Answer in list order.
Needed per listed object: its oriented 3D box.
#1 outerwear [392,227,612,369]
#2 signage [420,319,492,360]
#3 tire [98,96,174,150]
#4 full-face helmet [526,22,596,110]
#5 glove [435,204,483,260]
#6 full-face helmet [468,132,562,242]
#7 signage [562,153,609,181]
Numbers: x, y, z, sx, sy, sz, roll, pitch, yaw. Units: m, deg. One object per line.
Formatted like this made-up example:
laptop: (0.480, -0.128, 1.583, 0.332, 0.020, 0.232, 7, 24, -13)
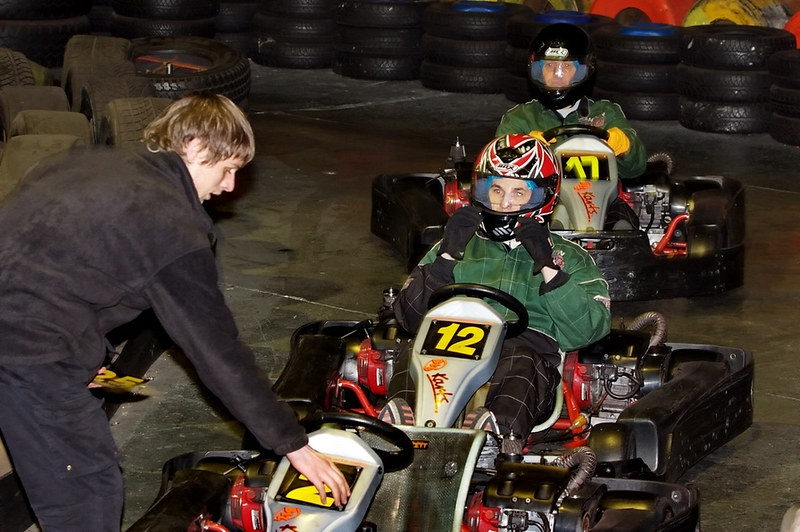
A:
outerwear: (0.432, 0.174, 2.620, 0.918, 0.419, 0.485, 8, -2, 24)
signage: (0.186, 0.237, 2.258, 0.211, 0.009, 0.115, 5, 43, 17)
tire: (-1.316, -0.757, 3.793, 0.200, 0.355, 0.413, 11, 10, -7)
full-face helmet: (0.934, -1.146, 4.121, 0.452, 0.392, 0.506, 4, 33, 14)
glove: (0.195, -0.148, 2.489, 0.139, 0.174, 0.062, -38, 63, -22)
full-face helmet: (0.416, -0.287, 2.575, 0.387, 0.311, 0.403, 10, 24, 21)
signage: (1.010, -0.526, 3.864, 0.322, 0.146, 0.035, 1, -17, -2)
